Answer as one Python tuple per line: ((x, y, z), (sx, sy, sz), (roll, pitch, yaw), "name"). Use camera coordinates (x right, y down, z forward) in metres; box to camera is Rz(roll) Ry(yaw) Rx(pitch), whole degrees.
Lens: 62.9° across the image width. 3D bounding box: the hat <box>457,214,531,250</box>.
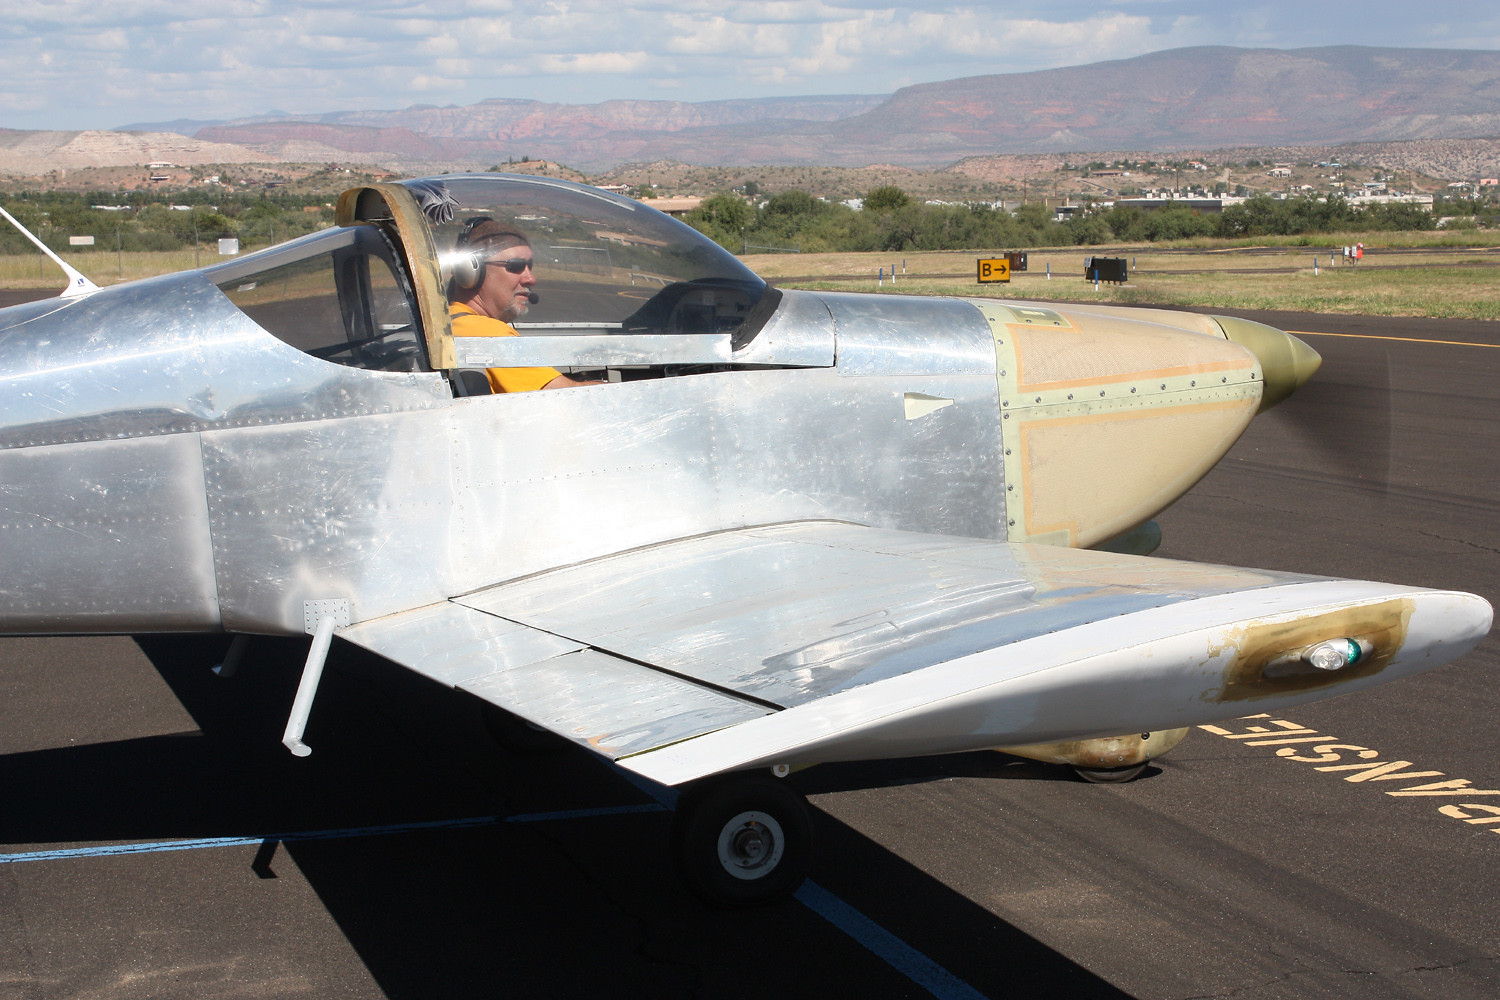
((-1.307, -1.369, 6.274), (0.300, 0.064, 0.254), (-1, -1, -37), "hat")
